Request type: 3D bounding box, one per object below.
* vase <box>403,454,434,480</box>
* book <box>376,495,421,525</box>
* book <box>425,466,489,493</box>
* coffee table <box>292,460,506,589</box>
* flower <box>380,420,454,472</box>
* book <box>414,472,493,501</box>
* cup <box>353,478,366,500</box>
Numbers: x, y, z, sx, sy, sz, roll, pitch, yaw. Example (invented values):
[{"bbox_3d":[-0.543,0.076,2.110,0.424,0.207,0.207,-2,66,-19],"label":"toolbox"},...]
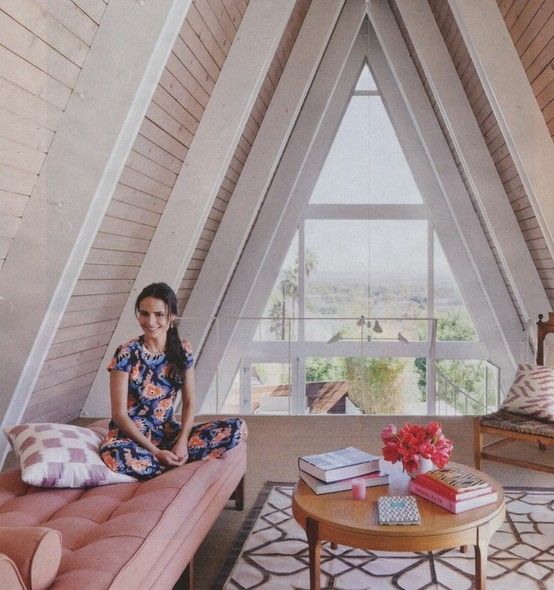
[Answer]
[{"bbox_3d":[0.500,0.592,1.968,0.081,0.092,0.085,1,0,21],"label":"vase"},{"bbox_3d":[0.377,0.669,1.732,0.127,0.034,0.176,0,3,3],"label":"book"},{"bbox_3d":[0.604,0.617,1.852,0.091,0.023,0.087,-5,9,-39],"label":"book"},{"bbox_3d":[0.408,0.789,1.806,0.722,0.324,0.389,0,3,5],"label":"coffee table"},{"bbox_3d":[0.510,0.542,2.036,0.202,0.164,0.215,-1,-5,2],"label":"flower"},{"bbox_3d":[0.577,0.625,1.838,0.108,0.029,0.112,-3,2,-23],"label":"book"},{"bbox_3d":[0.280,0.654,1.860,0.043,0.053,0.042,2,-1,0],"label":"cup"}]
